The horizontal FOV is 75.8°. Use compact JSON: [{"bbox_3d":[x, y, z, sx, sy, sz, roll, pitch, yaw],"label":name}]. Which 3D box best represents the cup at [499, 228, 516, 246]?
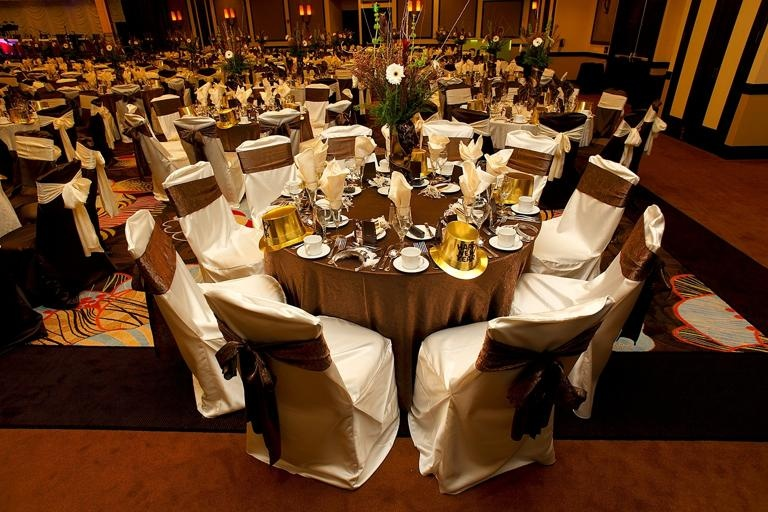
[{"bbox_3d":[0.957,-0.156,3.847,0.107,0.108,0.146,0,34,13],"label":"cup"}]

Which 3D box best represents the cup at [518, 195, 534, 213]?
[{"bbox_3d":[1.259,-0.469,4.324,0.136,0.107,0.105,-16,30,-25],"label":"cup"}]

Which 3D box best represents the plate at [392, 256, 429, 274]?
[{"bbox_3d":[0.200,0.051,3.671,0.282,0.080,0.156,3,30,4],"label":"plate"}]

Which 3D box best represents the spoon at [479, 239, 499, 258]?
[{"bbox_3d":[0.814,-0.065,3.844,0.072,0.018,0.213,-7,29,-6],"label":"spoon"}]

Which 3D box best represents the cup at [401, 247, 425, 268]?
[{"bbox_3d":[0.210,0.008,3.667,0.114,0.110,0.153,-9,40,-9],"label":"cup"}]

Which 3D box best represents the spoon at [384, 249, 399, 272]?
[{"bbox_3d":[0.048,0.025,3.735,0.056,0.033,0.220,2,39,12],"label":"spoon"}]

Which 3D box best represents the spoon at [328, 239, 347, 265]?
[{"bbox_3d":[-0.352,-0.065,3.837,0.067,0.043,0.304,12,52,18],"label":"spoon"}]

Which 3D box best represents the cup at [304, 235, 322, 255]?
[{"bbox_3d":[-0.544,-0.095,3.815,0.098,0.109,0.158,9,36,9],"label":"cup"}]

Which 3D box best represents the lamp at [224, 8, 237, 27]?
[{"bbox_3d":[-4.743,-7.352,15.154,0.366,0.542,1.256,-8,31,-15],"label":"lamp"}]
